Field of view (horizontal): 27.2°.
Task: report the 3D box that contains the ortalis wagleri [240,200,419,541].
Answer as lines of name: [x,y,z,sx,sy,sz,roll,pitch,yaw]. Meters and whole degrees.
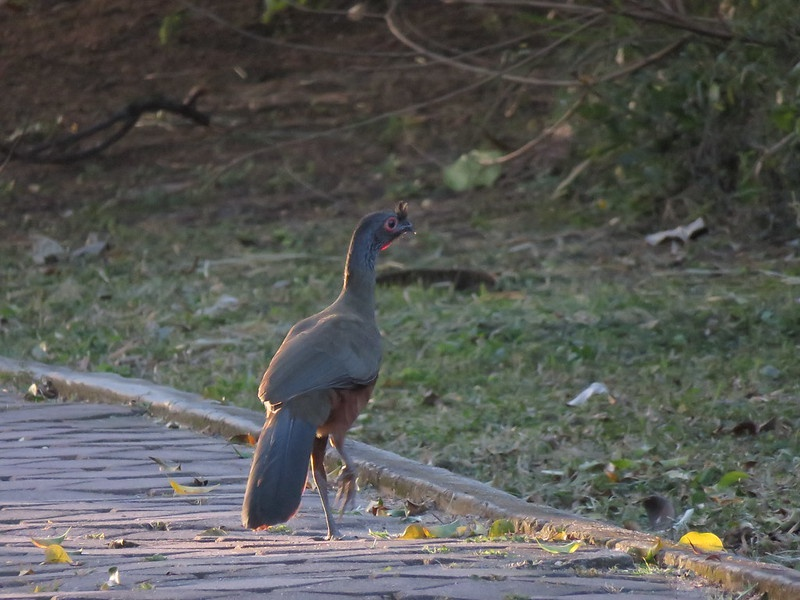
ortalis wagleri: [-0.540,0.437,11.243,0.602,2.081,1.199,6,-2,22]
